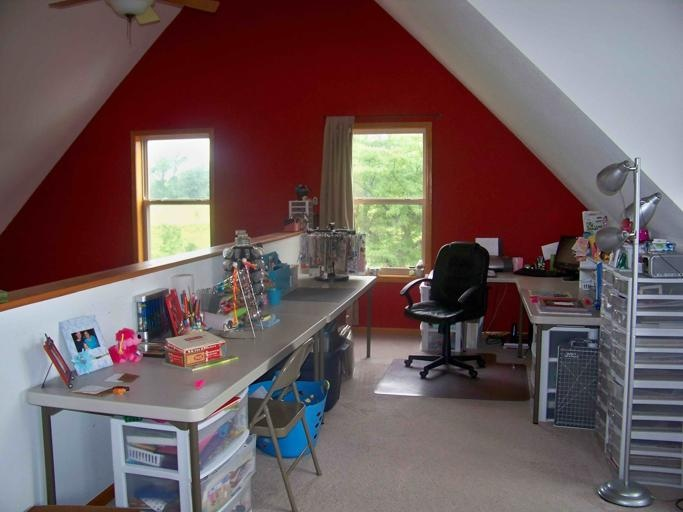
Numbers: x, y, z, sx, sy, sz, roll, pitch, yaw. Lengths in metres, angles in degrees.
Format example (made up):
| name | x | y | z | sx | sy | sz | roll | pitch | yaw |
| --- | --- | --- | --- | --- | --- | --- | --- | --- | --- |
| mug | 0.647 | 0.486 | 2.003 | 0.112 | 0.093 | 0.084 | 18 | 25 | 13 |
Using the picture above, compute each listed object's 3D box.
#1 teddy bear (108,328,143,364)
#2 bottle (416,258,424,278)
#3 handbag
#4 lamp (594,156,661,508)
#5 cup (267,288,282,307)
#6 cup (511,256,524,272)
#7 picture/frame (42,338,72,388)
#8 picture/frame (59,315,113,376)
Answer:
| name | x | y | z | sx | sy | sz | roll | pitch | yaw |
| --- | --- | --- | --- | --- | --- | --- | --- | --- | --- |
| teddy bear | -1.068 | 0.451 | 2.769 | 0.137 | 0.165 | 0.066 | 6 | -15 | -13 |
| bottle | 0.829 | 0.144 | 6.010 | 0.114 | 0.230 | 0.157 | 1 | 2 | 7 |
| handbag | -0.349 | 1.017 | 3.619 | 0.458 | 0.355 | 0.427 | -2 | -1 | 34 |
| lamp | 1.553 | 0.400 | 3.089 | 0.362 | 1.847 | 0.481 | 2 | 10 | 11 |
| cup | -0.452 | 0.272 | 3.741 | 0.086 | 0.083 | 0.101 | 0 | -4 | -12 |
| cup | 1.706 | 0.082 | 5.478 | 0.095 | 0.184 | 0.171 | 0 | 1 | -3 |
| picture/frame | -1.287 | 0.474 | 2.546 | 0.110 | 0.209 | 0.201 | -6 | 12 | -29 |
| picture/frame | -1.225 | 0.436 | 2.660 | 0.020 | 0.299 | 0.215 | -18 | -3 | 39 |
